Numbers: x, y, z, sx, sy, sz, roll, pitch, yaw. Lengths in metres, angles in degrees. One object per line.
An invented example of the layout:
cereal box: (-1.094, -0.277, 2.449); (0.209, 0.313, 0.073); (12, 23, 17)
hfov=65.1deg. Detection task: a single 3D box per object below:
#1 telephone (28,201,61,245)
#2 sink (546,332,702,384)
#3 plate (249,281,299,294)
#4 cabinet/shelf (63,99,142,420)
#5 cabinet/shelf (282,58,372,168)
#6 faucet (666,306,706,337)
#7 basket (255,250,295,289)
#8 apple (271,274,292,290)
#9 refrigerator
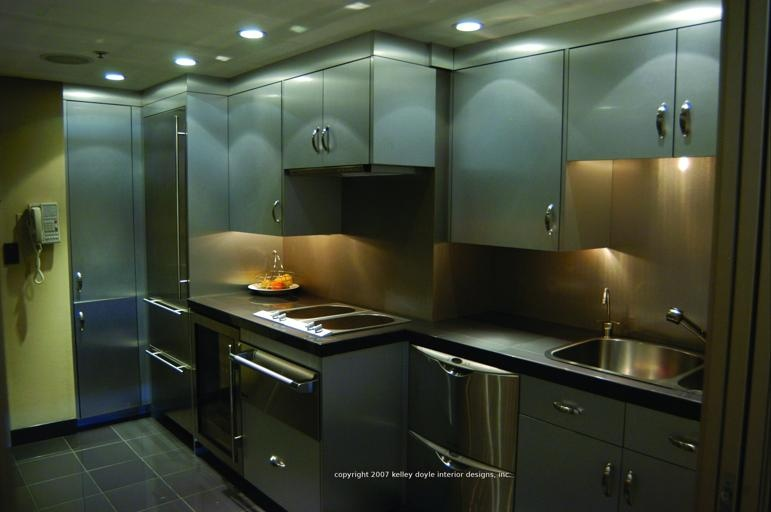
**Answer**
telephone: (-2.546, -0.237, 4.501); (0.215, 0.290, 0.114); (-5, 7, -44)
sink: (1.362, 0.559, 3.263); (0.353, 0.178, 0.438); (-9, 11, -38)
plate: (-0.857, 0.256, 4.571); (0.397, 0.080, 0.256); (-1, 12, -9)
cabinet/shelf: (-2.239, 0.058, 4.802); (0.532, 2.477, 0.369); (-4, 13, -22)
cabinet/shelf: (-0.339, -0.862, 3.641); (0.290, 0.546, 0.743); (0, 2, -39)
faucet: (1.580, 0.343, 3.169); (0.183, 0.148, 0.156); (7, 13, 26)
basket: (-0.844, 0.102, 4.639); (0.291, 0.311, 0.277); (-5, 10, -38)
apple: (-0.789, 0.188, 4.545); (0.097, 0.047, 0.129); (-3, 13, -25)
refrigerator: (-1.689, 0.132, 4.633); (0.264, 2.449, 0.951); (-7, 14, -33)
